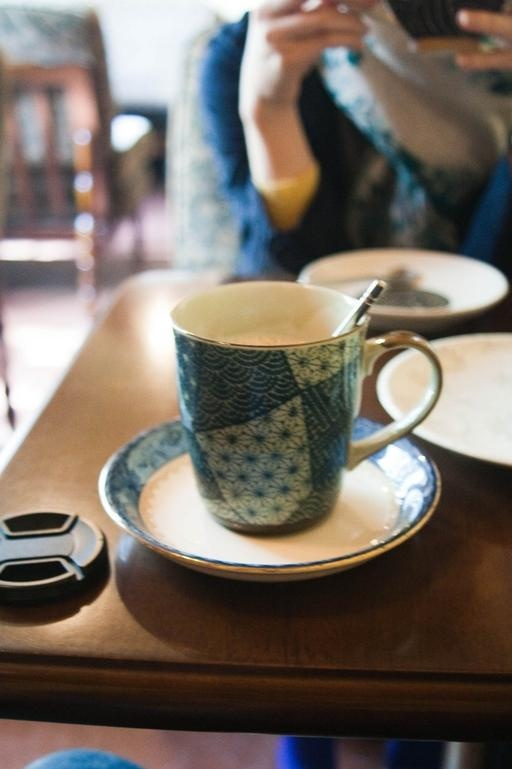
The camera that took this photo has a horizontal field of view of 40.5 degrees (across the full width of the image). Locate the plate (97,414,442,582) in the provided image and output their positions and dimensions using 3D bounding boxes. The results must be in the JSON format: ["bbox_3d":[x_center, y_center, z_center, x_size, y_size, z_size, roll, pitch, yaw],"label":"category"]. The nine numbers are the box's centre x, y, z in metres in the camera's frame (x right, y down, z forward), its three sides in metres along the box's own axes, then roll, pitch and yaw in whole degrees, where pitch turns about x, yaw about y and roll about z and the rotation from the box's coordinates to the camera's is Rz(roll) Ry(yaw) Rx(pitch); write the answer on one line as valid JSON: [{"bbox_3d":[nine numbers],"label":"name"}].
[{"bbox_3d":[0.005,0.044,0.241,0.073,0.011,0.069,-2,19,-8],"label":"plate"}]

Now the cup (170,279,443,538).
[{"bbox_3d":[0.008,0.005,0.295,0.117,0.098,0.072,0,28,1],"label":"cup"}]
